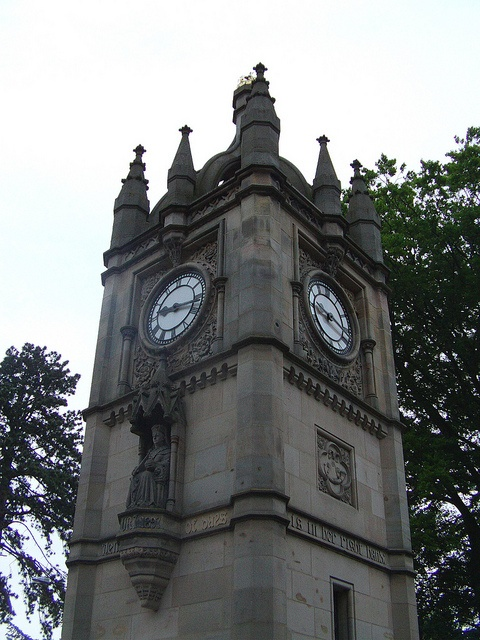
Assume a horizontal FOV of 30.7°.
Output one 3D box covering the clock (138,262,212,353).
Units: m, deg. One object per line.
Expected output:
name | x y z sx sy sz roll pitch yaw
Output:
clock | -1.403 -0.240 19.715 0.135 1.735 1.675 32 -48 -28

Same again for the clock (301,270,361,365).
clock | 2.048 -0.006 20.066 0.128 1.791 1.767 -21 -36 25

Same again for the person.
person | -1.744 2.863 16.950 0.847 2.004 0.396 -20 -47 23
